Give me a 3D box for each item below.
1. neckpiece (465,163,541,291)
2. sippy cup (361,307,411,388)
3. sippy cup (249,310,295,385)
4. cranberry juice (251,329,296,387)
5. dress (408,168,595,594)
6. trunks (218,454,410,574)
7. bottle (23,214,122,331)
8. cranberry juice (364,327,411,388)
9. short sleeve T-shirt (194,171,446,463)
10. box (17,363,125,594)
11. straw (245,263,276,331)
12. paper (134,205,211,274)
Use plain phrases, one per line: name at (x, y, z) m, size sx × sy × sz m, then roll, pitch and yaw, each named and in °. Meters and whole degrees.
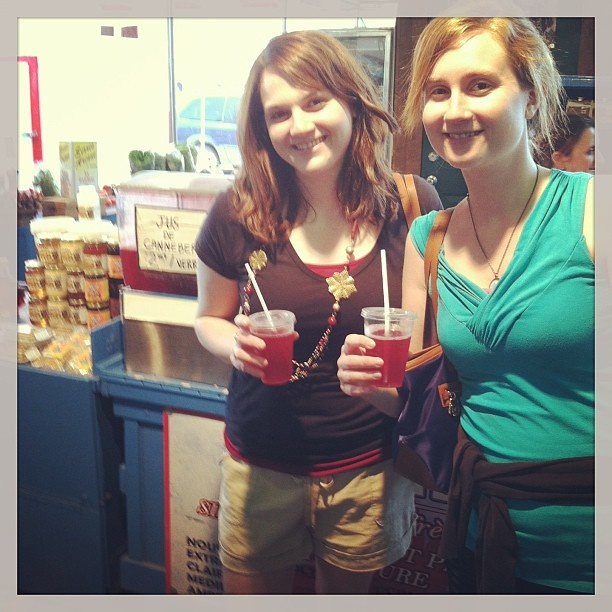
neckpiece at (0.458, -0.176, 1.304) m, size 0.158 × 0.280 × 0.059 m, roll -1°, pitch 4°, yaw 24°
sippy cup at (0.181, 0.086, 1.283) m, size 0.125 × 0.177 × 0.137 m, roll 2°, pitch 15°, yaw -1°
sippy cup at (-0.066, 0.081, 1.296) m, size 0.149 × 0.188 × 0.146 m, roll -2°, pitch 1°, yaw 0°
cranberry juice at (-0.073, 0.103, 1.309) m, size 0.093 × 0.129 × 0.091 m, roll -5°, pitch 13°, yaw -21°
dress at (0.576, 0.154, 1.474) m, size 0.363 × 1.043 × 0.475 m, roll -16°, pitch 9°, yaw -31°
trunks at (0.027, 0.398, 1.447) m, size 0.490 × 0.403 × 0.299 m, roll 0°, pitch -1°, yaw 7°
bottle at (-0.595, -0.093, 1.599) m, size 0.258 × 0.305 × 0.274 m, roll 0°, pitch 4°, yaw -4°
cranberry juice at (0.179, 0.114, 1.301) m, size 0.108 × 0.133 × 0.116 m, roll -1°, pitch 4°, yaw 5°
short sleeve T-shirt at (0.075, 0.029, 1.496) m, size 0.723 × 0.770 × 0.410 m, roll 0°, pitch 19°, yaw 22°
box at (-0.623, 0.510, 1.685) m, size 0.313 × 0.651 × 0.347 m, roll 2°, pitch 4°, yaw 26°
straw at (-0.108, -0.026, 1.348) m, size 0.020 × 0.163 × 0.021 m, roll -21°, pitch -3°, yaw 21°
paper at (-0.335, -0.178, 1.436) m, size 0.155 × 0.120 × 0.018 m, roll 4°, pitch 18°, yaw 10°
